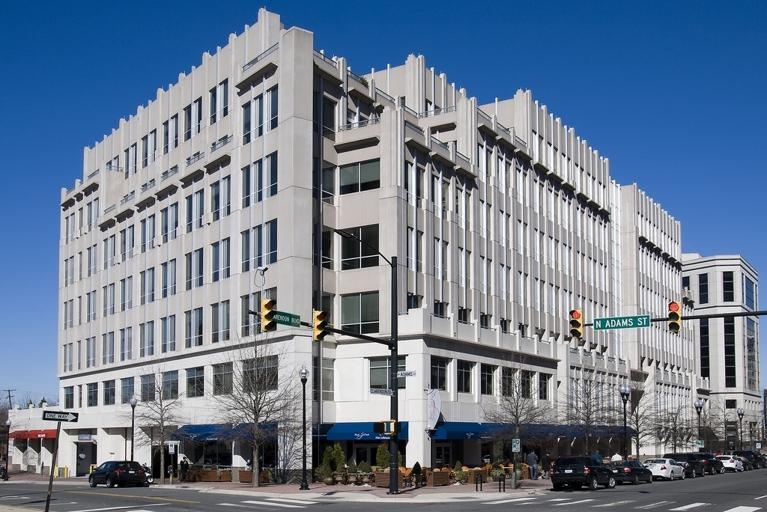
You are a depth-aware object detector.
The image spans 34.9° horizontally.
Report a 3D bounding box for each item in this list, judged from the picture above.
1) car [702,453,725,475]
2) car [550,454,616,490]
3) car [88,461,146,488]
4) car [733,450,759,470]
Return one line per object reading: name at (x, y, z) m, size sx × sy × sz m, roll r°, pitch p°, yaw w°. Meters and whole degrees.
car at (34.326, 21.817, 126.476) m, size 1.123 × 2.318 × 4.844 m, roll -10°, pitch -21°, yaw 25°
car at (16.997, 18.752, 104.673) m, size 5.125 × 2.822 × 2.804 m, roll 6°, pitch -20°, yaw -20°
car at (-24.526, 20.130, 111.130) m, size 2.395 × 1.627 × 4.642 m, roll 7°, pitch -10°, yaw -41°
car at (41.785, 23.496, 139.663) m, size 1.999 × 1.672 × 4.476 m, roll -3°, pitch -6°, yaw 31°
